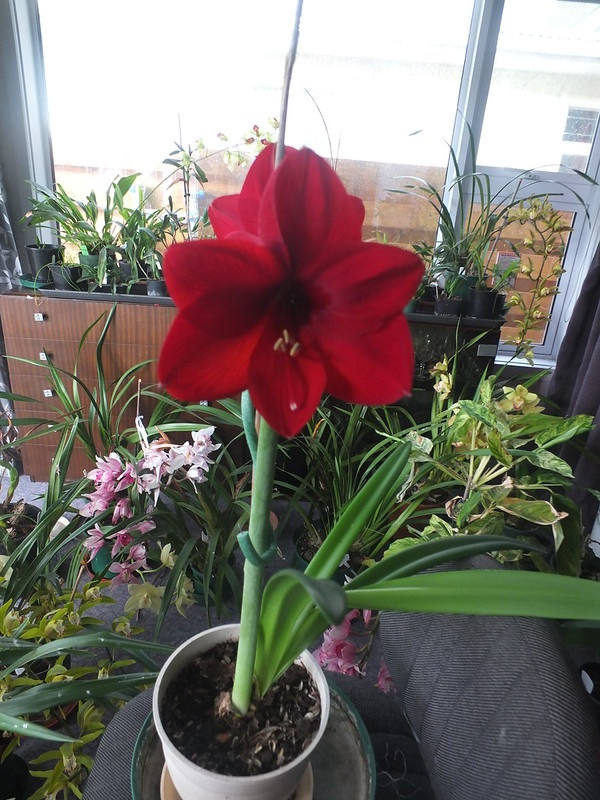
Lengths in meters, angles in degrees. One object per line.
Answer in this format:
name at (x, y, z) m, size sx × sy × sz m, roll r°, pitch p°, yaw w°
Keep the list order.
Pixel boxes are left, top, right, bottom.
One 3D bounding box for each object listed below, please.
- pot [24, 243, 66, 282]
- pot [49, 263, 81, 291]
pot at (-0.969, -0.527, 2.110) m, size 0.169 × 0.133 × 0.180 m, roll 2°, pitch 15°, yaw -1°
pot at (-0.855, -0.443, 2.006) m, size 0.106 × 0.081 × 0.111 m, roll 4°, pitch 7°, yaw -1°
